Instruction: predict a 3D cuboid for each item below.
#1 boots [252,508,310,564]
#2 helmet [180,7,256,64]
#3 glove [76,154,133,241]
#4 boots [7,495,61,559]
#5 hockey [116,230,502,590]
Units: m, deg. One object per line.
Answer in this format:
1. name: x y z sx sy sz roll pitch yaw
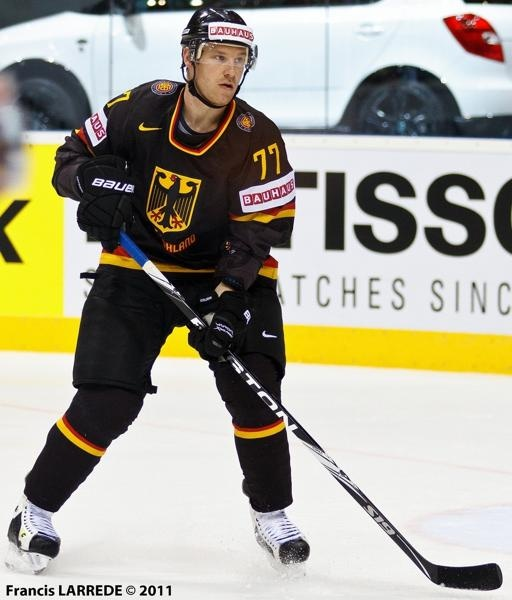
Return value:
1. boots: 0.042 0.481 1.671 0.058 0.069 0.161 -35 10 -11
2. helmet: -0.076 -0.553 1.679 0.135 0.081 0.134 1 0 -19
3. glove: -0.309 -0.224 1.713 0.133 0.173 0.060 6 29 14
4. boots: -0.440 0.452 1.593 0.093 0.100 0.105 3 5 -19
5. hockey: 0.198 0.311 2.302 0.180 1.238 0.145 -41 -17 -28
